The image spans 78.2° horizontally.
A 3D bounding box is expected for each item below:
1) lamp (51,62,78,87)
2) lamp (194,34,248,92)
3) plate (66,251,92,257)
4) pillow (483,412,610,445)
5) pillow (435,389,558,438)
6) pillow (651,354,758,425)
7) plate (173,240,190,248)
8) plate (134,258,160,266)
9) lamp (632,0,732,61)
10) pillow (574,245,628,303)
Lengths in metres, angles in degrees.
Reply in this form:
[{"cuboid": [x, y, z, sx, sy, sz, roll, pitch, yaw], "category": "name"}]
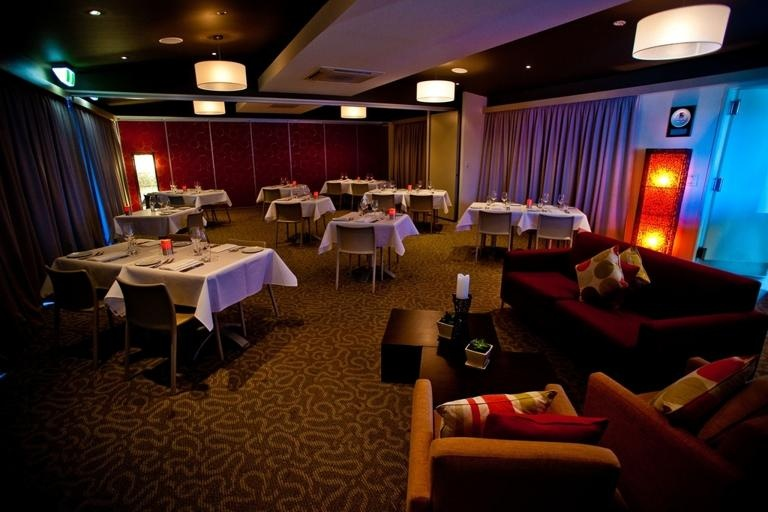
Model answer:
[{"cuboid": [-4.648, -2.666, 7.016, 0.243, 0.421, 0.436, -3, 23, -5], "category": "lamp"}, {"cuboid": [-2.201, -2.432, 6.326, 0.622, 0.330, 0.452, -8, 16, -26], "category": "lamp"}, {"cuboid": [-3.354, -0.025, 5.197, 0.224, 0.034, 0.321, -9, 16, -29], "category": "plate"}, {"cuboid": [1.085, 1.142, 3.141, 0.409, 0.109, 0.399, -1, -1, 6], "category": "pillow"}, {"cuboid": [0.734, 1.127, 3.288, 0.914, 0.268, 0.537, -1, -25, -8], "category": "pillow"}, {"cuboid": [2.404, 0.978, 3.558, 0.790, 0.376, 0.212, -31, -19, -5], "category": "pillow"}, {"cuboid": [-2.396, -0.139, 5.552, 0.128, 0.030, 0.129, 2, 14, -1], "category": "plate"}, {"cuboid": [-2.460, 0.054, 4.941, 0.251, 0.036, 0.229, -2, 14, -5], "category": "plate"}, {"cuboid": [3.037, -2.262, 4.809, 0.779, 0.306, 0.792, 12, 30, 35], "category": "lamp"}, {"cuboid": [2.224, 0.203, 4.830, 0.229, 0.503, 0.518, 15, -10, -15], "category": "pillow"}]
